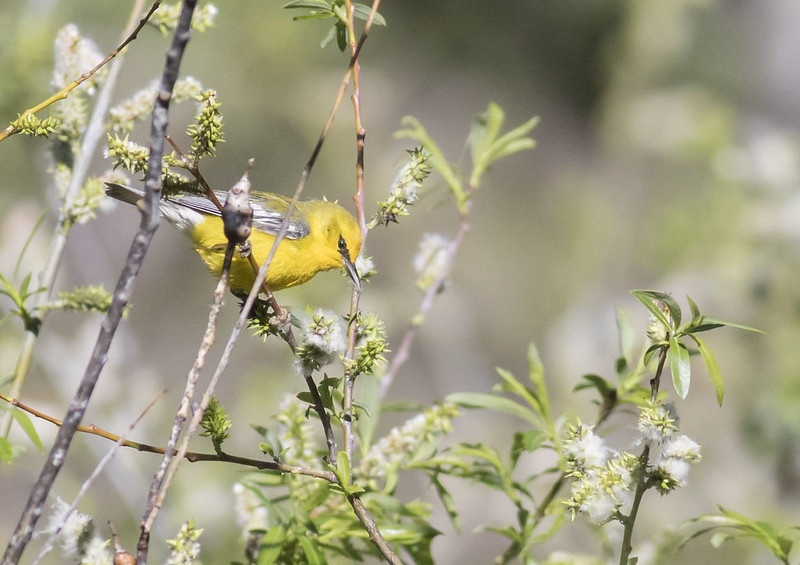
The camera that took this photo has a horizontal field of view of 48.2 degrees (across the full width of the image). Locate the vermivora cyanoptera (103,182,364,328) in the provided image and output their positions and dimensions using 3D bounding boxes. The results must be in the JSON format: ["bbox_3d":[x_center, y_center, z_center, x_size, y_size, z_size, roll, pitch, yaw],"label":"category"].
[{"bbox_3d":[-0.809,-0.215,4.187,1.337,0.568,0.405,18,-14,-4],"label":"vermivora cyanoptera"}]
